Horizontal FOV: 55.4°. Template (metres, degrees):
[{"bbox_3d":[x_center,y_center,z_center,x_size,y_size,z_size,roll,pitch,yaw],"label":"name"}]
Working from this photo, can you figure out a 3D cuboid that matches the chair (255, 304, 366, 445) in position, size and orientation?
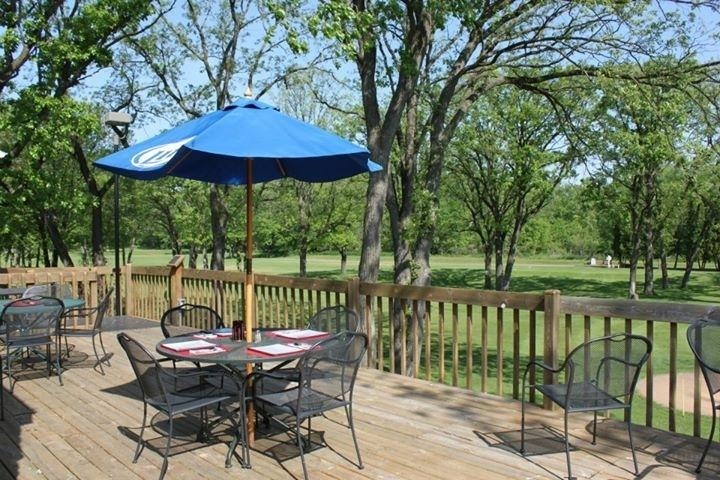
[{"bbox_3d":[-0.911,1.959,12.204,1.640,2.394,1.567,4,-3,-32],"label":"chair"}]

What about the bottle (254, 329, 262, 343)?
[{"bbox_3d":[-1.672,1.571,11.201,0.132,0.193,0.135,0,-5,0],"label":"bottle"}]

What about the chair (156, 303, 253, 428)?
[{"bbox_3d":[-2.860,2.196,12.782,2.018,1.948,1.997,1,0,-34],"label":"chair"}]

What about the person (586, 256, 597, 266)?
[{"bbox_3d":[22.695,2.017,67.023,0.856,1.213,0.886,4,-6,-37],"label":"person"}]

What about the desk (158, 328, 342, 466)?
[{"bbox_3d":[-1.745,2.511,10.872,2.167,1.608,2.201,-1,1,33],"label":"desk"}]
